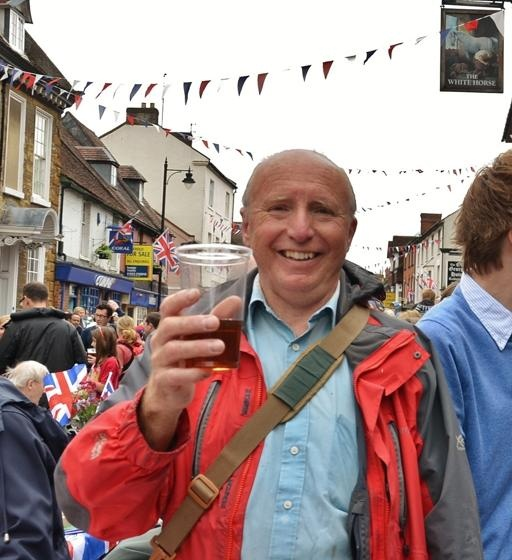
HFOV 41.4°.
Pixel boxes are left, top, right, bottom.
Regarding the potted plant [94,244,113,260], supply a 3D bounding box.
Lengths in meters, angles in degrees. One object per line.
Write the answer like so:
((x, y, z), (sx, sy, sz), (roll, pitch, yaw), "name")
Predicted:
((-5.678, -1.034, 25.272), (0.565, 0.466, 0.519), (0, -1, -2), "potted plant")
